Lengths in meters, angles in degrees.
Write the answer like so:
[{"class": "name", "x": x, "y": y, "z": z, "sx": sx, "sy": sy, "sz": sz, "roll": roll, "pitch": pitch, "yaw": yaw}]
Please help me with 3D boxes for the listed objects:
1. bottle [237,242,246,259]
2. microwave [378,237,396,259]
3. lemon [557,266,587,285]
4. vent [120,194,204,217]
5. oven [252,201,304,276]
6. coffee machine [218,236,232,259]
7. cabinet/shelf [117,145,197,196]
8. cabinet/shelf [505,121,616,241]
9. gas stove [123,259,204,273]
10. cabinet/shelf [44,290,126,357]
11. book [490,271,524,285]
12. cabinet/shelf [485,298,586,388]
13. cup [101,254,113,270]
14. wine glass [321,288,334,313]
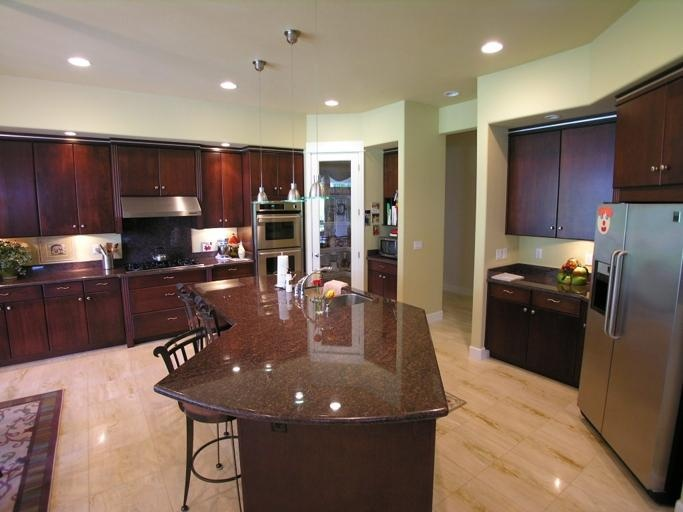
[{"class": "bottle", "x": -1.477, "y": -0.080, "z": 7.090, "sx": 0.112, "sy": 0.212, "sz": 0.273, "roll": -3, "pitch": 8, "yaw": -12}, {"class": "microwave", "x": 0.690, "y": -0.112, "z": 7.032, "sx": 0.256, "sy": 0.260, "sz": 0.387, "roll": 0, "pitch": 1, "yaw": -17}, {"class": "lemon", "x": 2.552, "y": 0.191, "z": 5.265, "sx": 0.207, "sy": 0.165, "sz": 0.211, "roll": -9, "pitch": 10, "yaw": -23}, {"class": "vent", "x": -2.352, "y": -0.646, "z": 6.285, "sx": 0.975, "sy": 0.262, "sz": 0.259, "roll": -4, "pitch": 8, "yaw": -20}, {"class": "oven", "x": -0.961, "y": -0.253, "z": 7.201, "sx": 0.712, "sy": 1.350, "sz": 0.649, "roll": -4, "pitch": 23, "yaw": -12}, {"class": "coffee machine", "x": -1.754, "y": -0.121, "z": 7.111, "sx": 0.200, "sy": 0.256, "sz": 0.197, "roll": -5, "pitch": 8, "yaw": -24}, {"class": "cabinet/shelf", "x": -2.393, "y": -1.106, "z": 6.251, "sx": 1.025, "sy": 0.762, "sz": 0.583, "roll": -3, "pitch": 11, "yaw": -29}, {"class": "cabinet/shelf", "x": 2.441, "y": -0.836, "z": 5.235, "sx": 0.547, "sy": 1.469, "sz": 1.244, "roll": -2, "pitch": 4, "yaw": -41}, {"class": "gas stove", "x": -2.427, "y": 0.108, "z": 6.463, "sx": 0.916, "sy": 0.078, "sz": 0.620, "roll": -5, "pitch": 8, "yaw": -28}, {"class": "cabinet/shelf", "x": -3.177, "y": 0.730, "z": 6.100, "sx": 1.031, "sy": 0.988, "sz": 0.616, "roll": -4, "pitch": 4, "yaw": -38}, {"class": "book", "x": 1.993, "y": 0.247, "z": 5.653, "sx": 0.429, "sy": 0.067, "sz": 0.318, "roll": -7, "pitch": 9, "yaw": -38}, {"class": "cabinet/shelf", "x": 2.165, "y": 0.962, "z": 5.234, "sx": 0.428, "sy": 0.781, "sz": 0.863, "roll": 1, "pitch": 4, "yaw": -40}, {"class": "cup", "x": -3.016, "y": 0.082, "z": 6.185, "sx": 0.108, "sy": 0.197, "sz": 0.172, "roll": -6, "pitch": 9, "yaw": -30}, {"class": "wine glass", "x": -0.131, "y": 0.440, "z": 4.649, "sx": 0.089, "sy": 0.257, "sz": 0.073, "roll": 9, "pitch": 31, "yaw": 9}]
